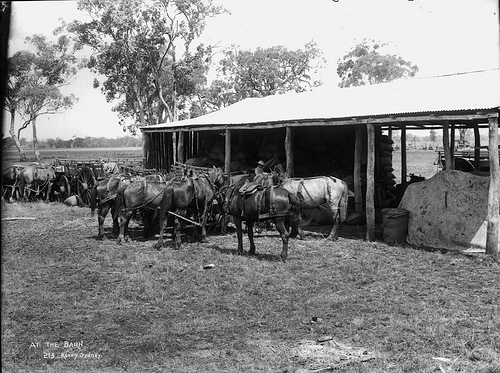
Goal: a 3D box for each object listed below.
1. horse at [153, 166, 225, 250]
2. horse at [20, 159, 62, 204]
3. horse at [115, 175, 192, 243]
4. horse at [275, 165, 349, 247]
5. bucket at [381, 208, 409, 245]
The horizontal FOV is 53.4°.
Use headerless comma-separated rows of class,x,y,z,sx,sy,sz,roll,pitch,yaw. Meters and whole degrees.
horse,-1.589,0.372,14.191,0.606,1.985,2.326,19,16,35
horse,-9.440,-0.135,22.392,0.541,1.950,2.272,0,-1,35
horse,-2.803,0.664,14.271,2.577,2.057,0.621,3,9,-41
horse,1.675,0.532,15.059,2.557,2.406,0.711,1,1,17
bucket,4.237,1.217,14.794,0.883,1.151,0.852,0,-1,0
